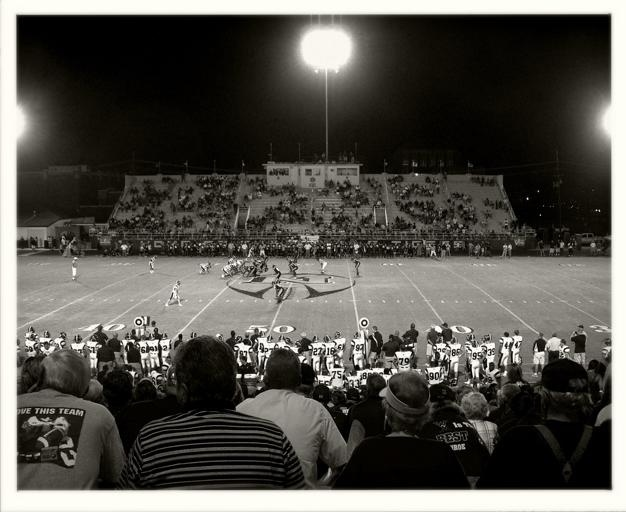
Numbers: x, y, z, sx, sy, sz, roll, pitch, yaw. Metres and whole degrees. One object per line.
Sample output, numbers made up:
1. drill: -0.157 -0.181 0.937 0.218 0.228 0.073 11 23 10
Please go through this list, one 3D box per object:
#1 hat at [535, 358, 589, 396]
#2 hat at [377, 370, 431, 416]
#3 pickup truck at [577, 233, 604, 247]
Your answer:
1. hat: 1.936 0.901 4.415 0.414 0.257 0.367 -2 3 25
2. hat: 0.712 0.956 4.303 0.308 0.248 0.434 -3 9 0
3. pickup truck: 26.925 -1.639 57.005 2.249 1.969 4.108 0 7 21
